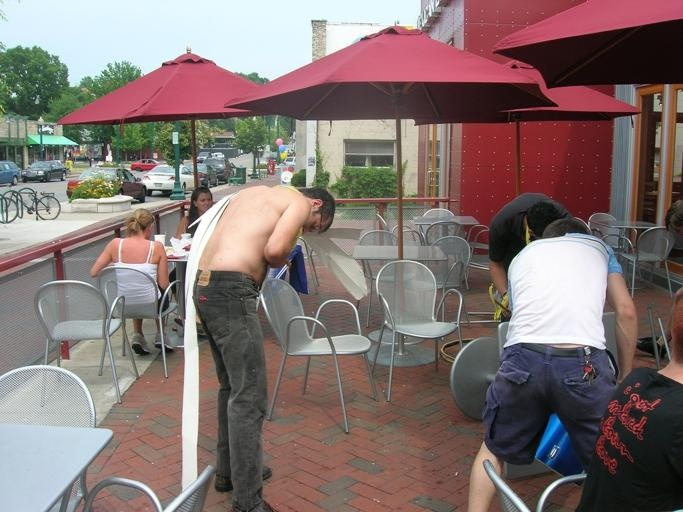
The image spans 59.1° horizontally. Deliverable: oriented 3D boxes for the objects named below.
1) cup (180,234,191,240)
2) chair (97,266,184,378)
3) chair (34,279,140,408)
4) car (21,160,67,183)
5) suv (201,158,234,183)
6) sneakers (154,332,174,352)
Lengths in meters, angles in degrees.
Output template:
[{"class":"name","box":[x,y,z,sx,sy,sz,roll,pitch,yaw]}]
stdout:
[{"class":"cup","box":[-1.805,-0.223,7.035,0.100,0.082,0.104,1,-1,0]},{"class":"chair","box":[-1.982,0.654,5.928,0.634,1.154,0.789,2,33,3]},{"class":"chair","box":[-2.143,0.710,5.090,0.702,1.208,0.826,2,24,-6]},{"class":"car","box":[-22.023,-6.230,44.515,1.375,1.129,3.404,-1,2,0]},{"class":"suv","box":[-8.663,-6.130,42.631,1.245,1.032,2.810,0,2,-5]},{"class":"sneakers","box":[-1.837,0.890,6.177,0.158,0.190,0.438,-2,-2,8]}]
